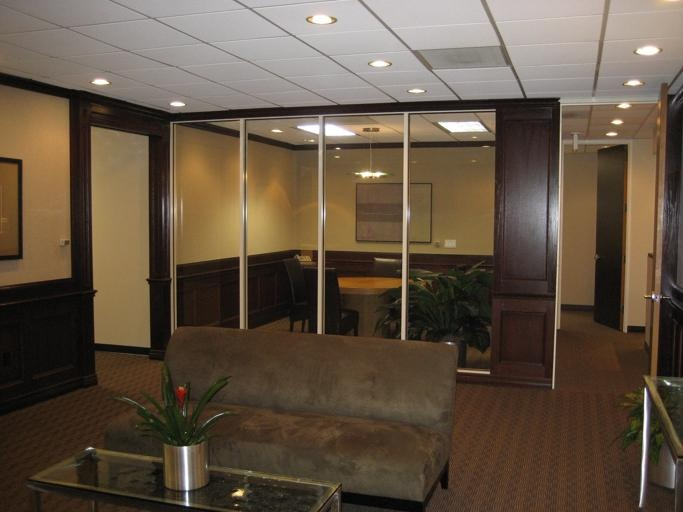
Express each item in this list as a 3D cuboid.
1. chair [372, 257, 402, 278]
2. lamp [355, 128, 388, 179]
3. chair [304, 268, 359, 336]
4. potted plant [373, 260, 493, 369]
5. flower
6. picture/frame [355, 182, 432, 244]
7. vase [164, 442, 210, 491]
[{"bbox_3d":[0.513,0.137,5.678,0.220,0.310,0.258,1,-5,8],"label":"chair"},{"bbox_3d":[0.333,-1.141,5.704,0.532,0.598,0.535,-1,21,-1],"label":"lamp"},{"bbox_3d":[-0.138,0.622,6.026,0.701,0.974,0.699,-2,5,-2],"label":"chair"},{"bbox_3d":[1.035,0.573,5.840,1.195,0.995,1.203,0,3,7],"label":"potted plant"},{"bbox_3d":[-0.827,0.825,2.559,0.492,0.286,0.519,-3,-5,-10],"label":"flower"},{"bbox_3d":[0.584,-0.480,5.683,0.885,0.694,0.039,3,8,21],"label":"picture/frame"},{"bbox_3d":[-0.770,1.018,2.550,0.242,0.231,0.218,1,5,-13],"label":"vase"}]
